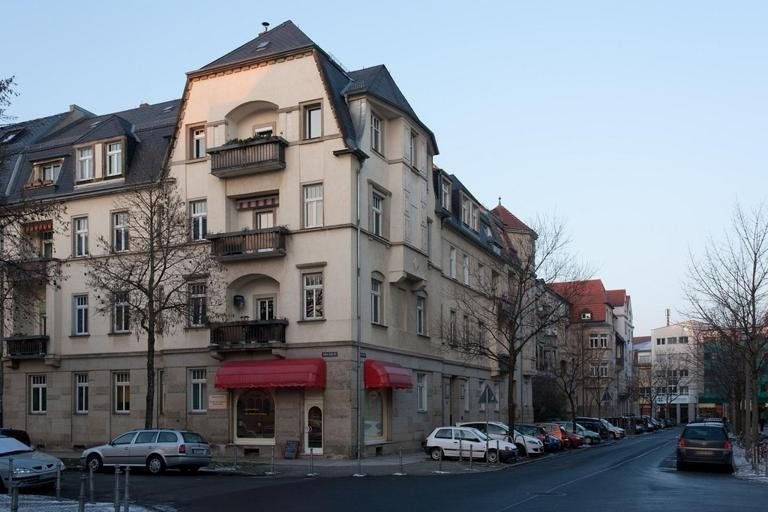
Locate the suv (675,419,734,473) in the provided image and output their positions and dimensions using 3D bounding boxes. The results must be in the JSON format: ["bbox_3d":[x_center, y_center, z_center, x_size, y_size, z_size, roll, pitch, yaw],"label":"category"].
[{"bbox_3d":[17.473,10.433,66.536,1.934,1.767,3.656,-1,-1,15],"label":"suv"}]
